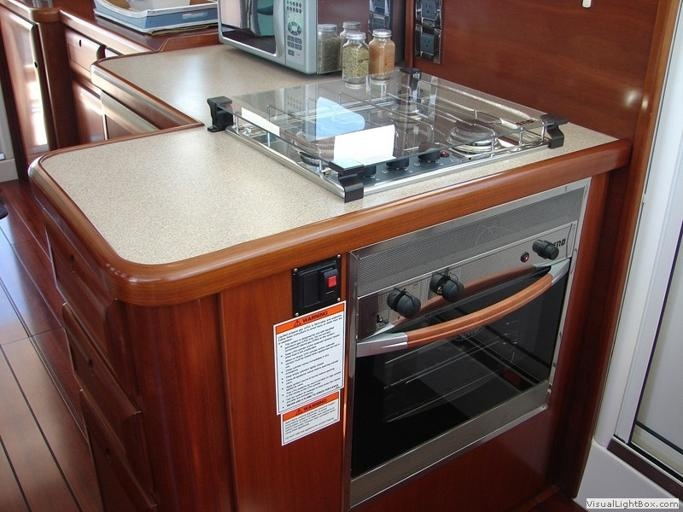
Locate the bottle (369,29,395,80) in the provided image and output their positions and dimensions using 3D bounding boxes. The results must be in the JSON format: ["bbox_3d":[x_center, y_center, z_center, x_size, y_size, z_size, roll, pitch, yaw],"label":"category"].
[{"bbox_3d":[0.108,-0.579,1.570,0.084,0.125,0.080,2,33,-1],"label":"bottle"}]

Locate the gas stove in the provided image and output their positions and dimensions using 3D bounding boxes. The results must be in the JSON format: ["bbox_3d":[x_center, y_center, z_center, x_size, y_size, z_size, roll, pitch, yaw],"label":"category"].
[{"bbox_3d":[0.089,-0.316,1.277,0.675,0.171,0.540,-13,29,-27],"label":"gas stove"}]

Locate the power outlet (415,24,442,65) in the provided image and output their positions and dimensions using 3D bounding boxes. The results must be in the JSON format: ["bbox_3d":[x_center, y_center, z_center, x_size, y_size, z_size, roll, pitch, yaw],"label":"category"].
[{"bbox_3d":[0.283,-0.631,1.603,0.080,0.098,0.103,-19,36,-22],"label":"power outlet"}]

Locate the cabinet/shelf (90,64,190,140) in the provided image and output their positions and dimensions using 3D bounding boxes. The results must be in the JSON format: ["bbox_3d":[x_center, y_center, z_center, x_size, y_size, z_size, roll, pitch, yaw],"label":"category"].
[{"bbox_3d":[-0.561,-0.446,1.540,0.111,0.264,0.281,-30,55,-27],"label":"cabinet/shelf"}]
